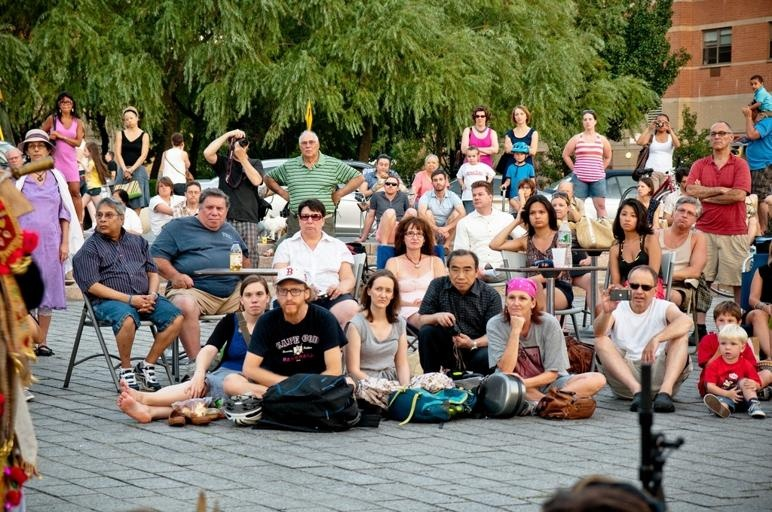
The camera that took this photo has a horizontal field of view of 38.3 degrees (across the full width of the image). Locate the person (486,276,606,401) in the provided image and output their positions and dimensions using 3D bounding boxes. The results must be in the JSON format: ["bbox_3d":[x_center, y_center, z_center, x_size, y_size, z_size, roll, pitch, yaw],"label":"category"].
[{"bbox_3d":[1.727,0.928,12.184,1.137,1.013,0.791,-17,7,-4],"label":"person"}]

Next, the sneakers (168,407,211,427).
[{"bbox_3d":[-1.968,1.594,11.127,0.302,0.116,0.201,-2,1,-22],"label":"sneakers"}]

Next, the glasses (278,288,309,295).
[{"bbox_3d":[-0.949,0.362,11.280,0.283,0.076,0.094,0,4,-5],"label":"glasses"}]

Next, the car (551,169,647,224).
[{"bbox_3d":[3.818,-1.076,20.515,1.954,0.840,0.901,-2,6,-10],"label":"car"}]

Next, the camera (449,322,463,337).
[{"bbox_3d":[0.777,0.814,12.330,0.119,0.135,0.203,1,4,4],"label":"camera"}]

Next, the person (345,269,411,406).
[{"bbox_3d":[-0.063,0.868,11.751,0.708,1.376,0.829,0,4,-8],"label":"person"}]

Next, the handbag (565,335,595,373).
[{"bbox_3d":[2.211,1.113,12.487,0.403,0.384,0.292,-2,1,24],"label":"handbag"}]

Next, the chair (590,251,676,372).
[{"bbox_3d":[2.838,0.585,12.475,1.234,1.574,1.189,0,-1,16],"label":"chair"}]

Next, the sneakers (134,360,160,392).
[{"bbox_3d":[-2.647,1.328,12.265,0.420,0.182,0.147,37,21,31],"label":"sneakers"}]

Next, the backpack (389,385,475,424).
[{"bbox_3d":[0.447,1.523,11.402,0.513,0.183,0.512,-2,-1,32],"label":"backpack"}]

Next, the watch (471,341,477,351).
[{"bbox_3d":[0.981,0.990,12.258,0.061,0.085,0.090,0,4,3],"label":"watch"}]

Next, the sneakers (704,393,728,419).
[{"bbox_3d":[3.460,1.543,11.605,0.289,0.154,0.128,43,23,24],"label":"sneakers"}]

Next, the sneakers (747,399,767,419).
[{"bbox_3d":[3.895,1.586,11.619,0.191,0.166,0.264,1,4,11],"label":"sneakers"}]

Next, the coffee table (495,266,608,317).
[{"bbox_3d":[1.980,0.360,13.446,0.806,0.457,0.765,1,0,-1],"label":"coffee table"}]

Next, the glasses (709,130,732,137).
[{"bbox_3d":[4.475,-1.599,14.730,0.318,0.069,0.185,0,4,-11],"label":"glasses"}]

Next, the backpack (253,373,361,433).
[{"bbox_3d":[-0.775,1.427,11.105,0.795,0.315,0.596,1,2,16],"label":"backpack"}]

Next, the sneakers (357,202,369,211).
[{"bbox_3d":[-0.365,-0.819,17.997,0.157,0.117,0.154,-20,-18,-24],"label":"sneakers"}]

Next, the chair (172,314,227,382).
[{"bbox_3d":[-2.061,1.021,12.223,0.791,0.655,0.572,1,7,-18],"label":"chair"}]

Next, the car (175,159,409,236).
[{"bbox_3d":[-1.957,-1.021,21.106,3.782,1.133,1.640,-1,4,-6],"label":"car"}]

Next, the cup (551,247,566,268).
[{"bbox_3d":[2.047,0.024,13.069,0.210,0.196,0.206,0,-7,0],"label":"cup"}]

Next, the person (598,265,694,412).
[{"bbox_3d":[2.762,0.861,12.003,1.017,1.455,0.652,2,4,22],"label":"person"}]

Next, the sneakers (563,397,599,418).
[{"bbox_3d":[2.039,1.569,11.485,0.347,0.212,0.111,-1,4,-27],"label":"sneakers"}]

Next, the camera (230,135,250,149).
[{"bbox_3d":[-1.957,-1.503,14.911,0.235,0.147,0.313,0,4,-11],"label":"camera"}]
